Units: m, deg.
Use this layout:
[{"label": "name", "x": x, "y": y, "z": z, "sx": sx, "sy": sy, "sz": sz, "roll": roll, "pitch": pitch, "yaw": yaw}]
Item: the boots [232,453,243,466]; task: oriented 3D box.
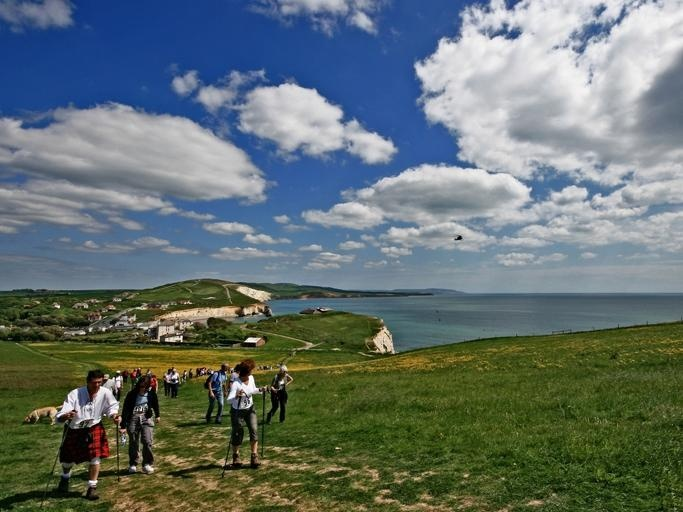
[{"label": "boots", "x": -5.523, "y": 10.606, "z": 24.548, "sx": 0.506, "sy": 0.703, "sz": 0.750, "roll": 2, "pitch": -8, "yaw": -9}]

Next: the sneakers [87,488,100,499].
[{"label": "sneakers", "x": -11.797, "y": 11.174, "z": 22.061, "sx": 0.317, "sy": 0.186, "sz": 0.466, "roll": 15, "pitch": -19, "yaw": -11}]
